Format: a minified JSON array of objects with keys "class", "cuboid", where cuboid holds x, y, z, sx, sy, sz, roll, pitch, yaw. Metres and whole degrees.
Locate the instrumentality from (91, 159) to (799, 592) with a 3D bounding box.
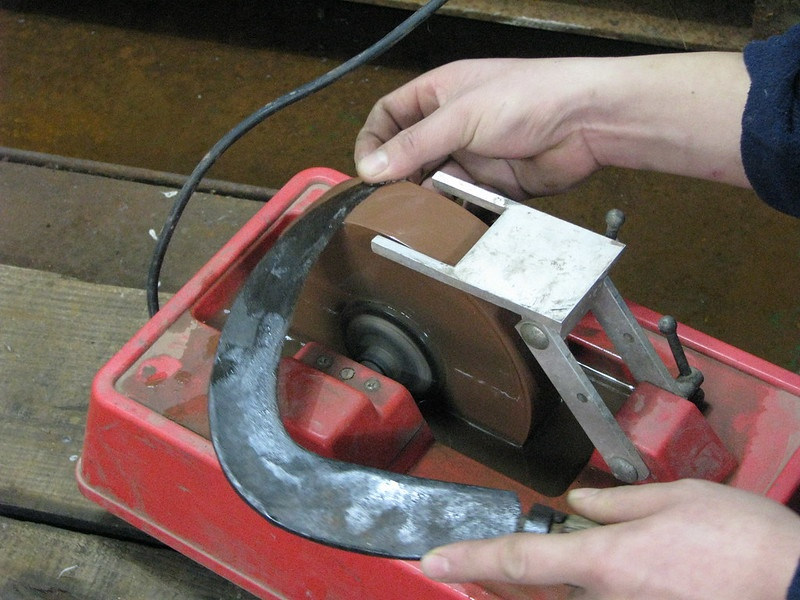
[{"class":"instrumentality","cuboid":[-0.008,0.268,1.455,1.015,0.346,0.621,28,54,13]}]
